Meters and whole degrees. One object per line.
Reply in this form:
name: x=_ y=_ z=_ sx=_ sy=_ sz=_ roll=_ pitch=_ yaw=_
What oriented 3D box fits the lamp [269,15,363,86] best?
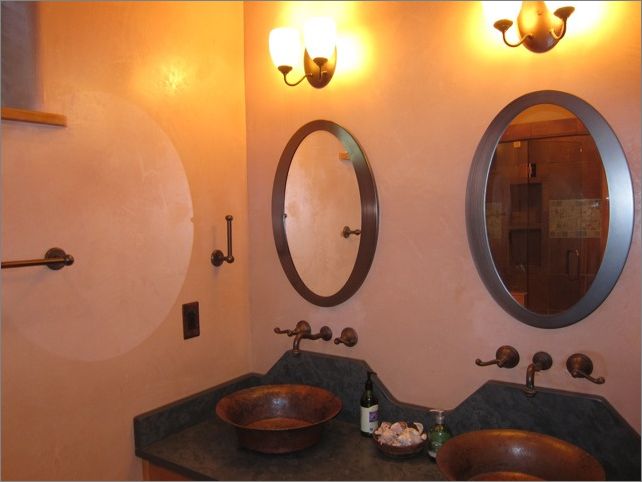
lamp: x=-0.069 y=-0.846 z=2.369 sx=0.315 sy=0.296 sz=0.226 roll=4 pitch=12 yaw=14

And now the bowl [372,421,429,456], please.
bowl: x=0.297 y=0.786 z=2.070 sx=0.227 sy=0.102 sz=0.249 roll=7 pitch=-1 yaw=0

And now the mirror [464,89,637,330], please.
mirror: x=0.827 y=-0.118 z=1.927 sx=0.553 sy=0.849 sz=0.175 roll=5 pitch=12 yaw=19

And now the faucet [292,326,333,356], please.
faucet: x=-0.039 y=0.439 z=2.318 sx=0.081 sy=0.092 sz=0.184 roll=-10 pitch=-8 yaw=35

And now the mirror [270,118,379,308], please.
mirror: x=0.033 y=-0.132 z=2.389 sx=0.023 sy=1.080 sz=0.789 roll=-4 pitch=3 yaw=-45

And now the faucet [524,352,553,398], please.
faucet: x=0.794 y=0.481 z=1.891 sx=0.075 sy=0.089 sz=0.192 roll=-11 pitch=1 yaw=32

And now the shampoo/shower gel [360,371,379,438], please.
shampoo/shower gel: x=0.205 y=0.676 z=2.183 sx=0.076 sy=0.236 sz=0.120 roll=3 pitch=12 yaw=13

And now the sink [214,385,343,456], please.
sink: x=-0.183 y=0.739 z=2.157 sx=0.482 sy=0.188 sz=0.404 roll=-5 pitch=13 yaw=-24
